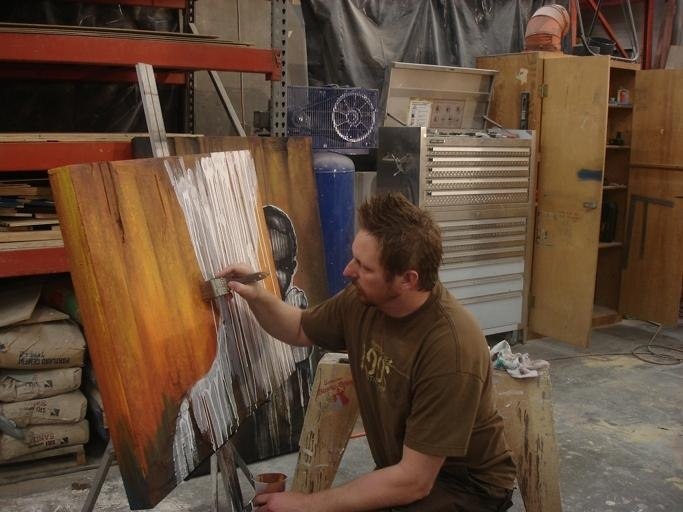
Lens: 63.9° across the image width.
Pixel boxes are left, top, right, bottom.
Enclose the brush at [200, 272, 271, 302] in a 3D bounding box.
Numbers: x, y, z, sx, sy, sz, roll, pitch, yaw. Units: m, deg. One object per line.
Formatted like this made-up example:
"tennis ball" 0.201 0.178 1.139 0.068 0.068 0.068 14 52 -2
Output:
"brush" -0.370 0.111 2.003 0.048 0.087 0.312 -1 4 43
